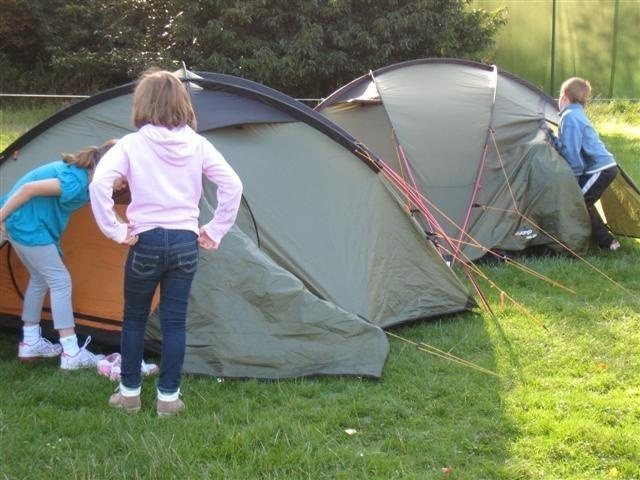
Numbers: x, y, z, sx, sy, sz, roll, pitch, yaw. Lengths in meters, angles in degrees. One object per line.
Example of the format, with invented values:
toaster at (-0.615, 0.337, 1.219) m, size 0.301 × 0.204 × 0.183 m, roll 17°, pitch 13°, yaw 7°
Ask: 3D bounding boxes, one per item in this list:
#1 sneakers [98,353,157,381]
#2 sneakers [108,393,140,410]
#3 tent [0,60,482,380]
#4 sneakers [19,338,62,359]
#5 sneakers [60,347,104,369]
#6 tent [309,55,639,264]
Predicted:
sneakers at (-1.833, 1.165, 7.383) m, size 0.631 × 0.284 × 0.233 m, roll -5°, pitch 4°, yaw -40°
sneakers at (-1.757, 1.440, 6.780) m, size 0.260 × 0.184 × 0.131 m, roll 13°, pitch 10°, yaw 31°
tent at (-0.947, -0.124, 7.935) m, size 3.163 × 1.894 × 3.357 m, roll 7°, pitch 16°, yaw 23°
sneakers at (-2.814, 1.096, 7.618) m, size 0.414 × 0.238 × 0.183 m, roll -3°, pitch 5°, yaw -21°
sneakers at (-2.354, 1.157, 7.435) m, size 0.433 × 0.210 × 0.177 m, roll -4°, pitch 5°, yaw -25°
tent at (2.055, -1.116, 9.790) m, size 3.045 × 1.651 × 3.023 m, roll -22°, pitch 32°, yaw -40°
